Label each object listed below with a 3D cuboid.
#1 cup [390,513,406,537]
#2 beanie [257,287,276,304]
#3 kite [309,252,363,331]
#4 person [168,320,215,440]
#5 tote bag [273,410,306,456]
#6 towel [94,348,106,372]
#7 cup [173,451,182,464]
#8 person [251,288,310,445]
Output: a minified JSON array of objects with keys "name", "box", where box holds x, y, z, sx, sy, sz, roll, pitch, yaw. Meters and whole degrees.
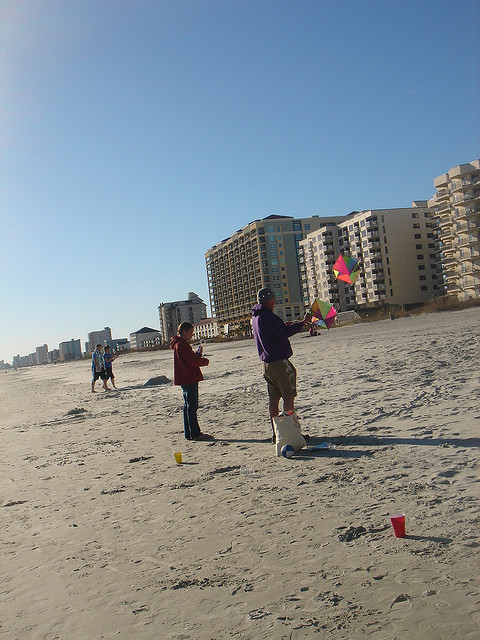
[{"name":"cup","box":[0.966,1.234,3.237,0.122,0.129,0.119,-5,-17,-2]},{"name":"beanie","box":[0.315,-0.294,6.356,0.203,0.184,0.226,-9,-1,-4]},{"name":"kite","box":[1.370,-0.430,7.755,0.443,0.987,0.435,33,14,31]},{"name":"person","box":[-0.723,0.862,8.037,0.523,1.702,1.166,-9,-1,-6]},{"name":"tote bag","box":[0.564,1.255,6.040,0.290,0.443,0.419,-12,-7,13]},{"name":"towel","box":[-5.072,1.463,19.374,0.395,0.781,0.301,-8,-1,-43]},{"name":"cup","box":[-0.736,1.621,6.354,0.121,0.142,0.122,0,-3,0]},{"name":"person","box":[0.462,0.369,6.277,0.369,1.730,0.664,-8,-1,-39]}]
